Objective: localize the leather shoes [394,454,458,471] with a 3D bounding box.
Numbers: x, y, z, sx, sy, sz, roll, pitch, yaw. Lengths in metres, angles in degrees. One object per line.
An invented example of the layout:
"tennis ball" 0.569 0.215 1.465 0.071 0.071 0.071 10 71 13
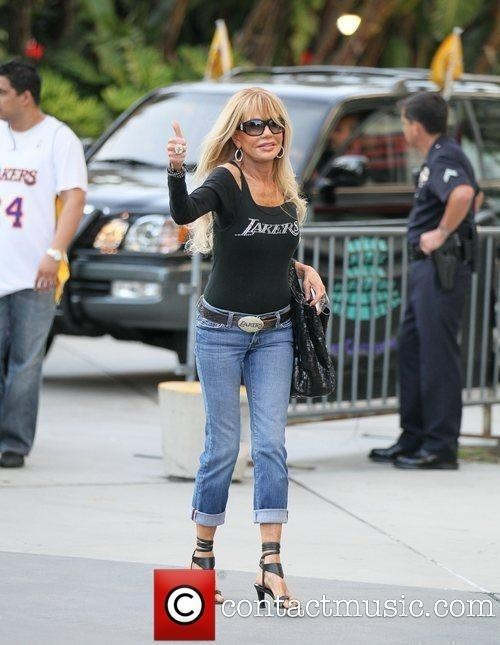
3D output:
"leather shoes" 0.910 0.733 6.055 0.292 0.103 0.114 4 -8 2

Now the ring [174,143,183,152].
"ring" -0.221 -0.551 3.689 0.028 0.027 0.009 1 3 -3

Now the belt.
"belt" -0.018 -0.020 3.994 0.316 0.105 0.142 0 6 -2

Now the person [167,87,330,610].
"person" -0.043 0.056 3.977 0.410 1.698 0.568 1 6 3

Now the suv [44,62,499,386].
"suv" 0.218 -0.863 8.172 3.096 1.592 1.843 1 3 -38

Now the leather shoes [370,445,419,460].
"leather shoes" 0.769 0.691 6.272 0.251 0.102 0.088 2 1 7

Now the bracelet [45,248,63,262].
"bracelet" -0.892 -0.314 5.490 0.052 0.064 0.100 4 7 33

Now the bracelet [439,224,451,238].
"bracelet" 0.970 -0.451 5.869 0.045 0.043 0.043 5 7 14

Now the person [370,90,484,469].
"person" 0.903 -0.207 6.060 0.490 1.955 0.411 2 6 18
